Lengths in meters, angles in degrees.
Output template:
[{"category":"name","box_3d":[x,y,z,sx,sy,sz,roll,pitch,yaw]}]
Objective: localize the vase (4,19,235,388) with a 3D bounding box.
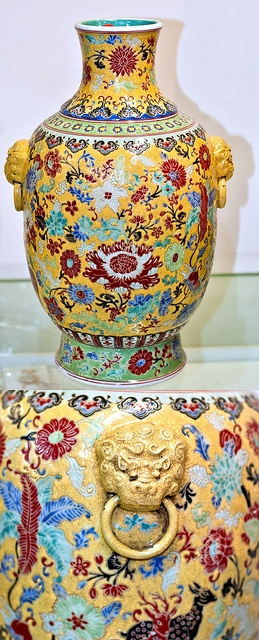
[{"category":"vase","box_3d":[0.000,-0.135,0.654,0.303,0.458,0.201,-7,14,-15]}]
